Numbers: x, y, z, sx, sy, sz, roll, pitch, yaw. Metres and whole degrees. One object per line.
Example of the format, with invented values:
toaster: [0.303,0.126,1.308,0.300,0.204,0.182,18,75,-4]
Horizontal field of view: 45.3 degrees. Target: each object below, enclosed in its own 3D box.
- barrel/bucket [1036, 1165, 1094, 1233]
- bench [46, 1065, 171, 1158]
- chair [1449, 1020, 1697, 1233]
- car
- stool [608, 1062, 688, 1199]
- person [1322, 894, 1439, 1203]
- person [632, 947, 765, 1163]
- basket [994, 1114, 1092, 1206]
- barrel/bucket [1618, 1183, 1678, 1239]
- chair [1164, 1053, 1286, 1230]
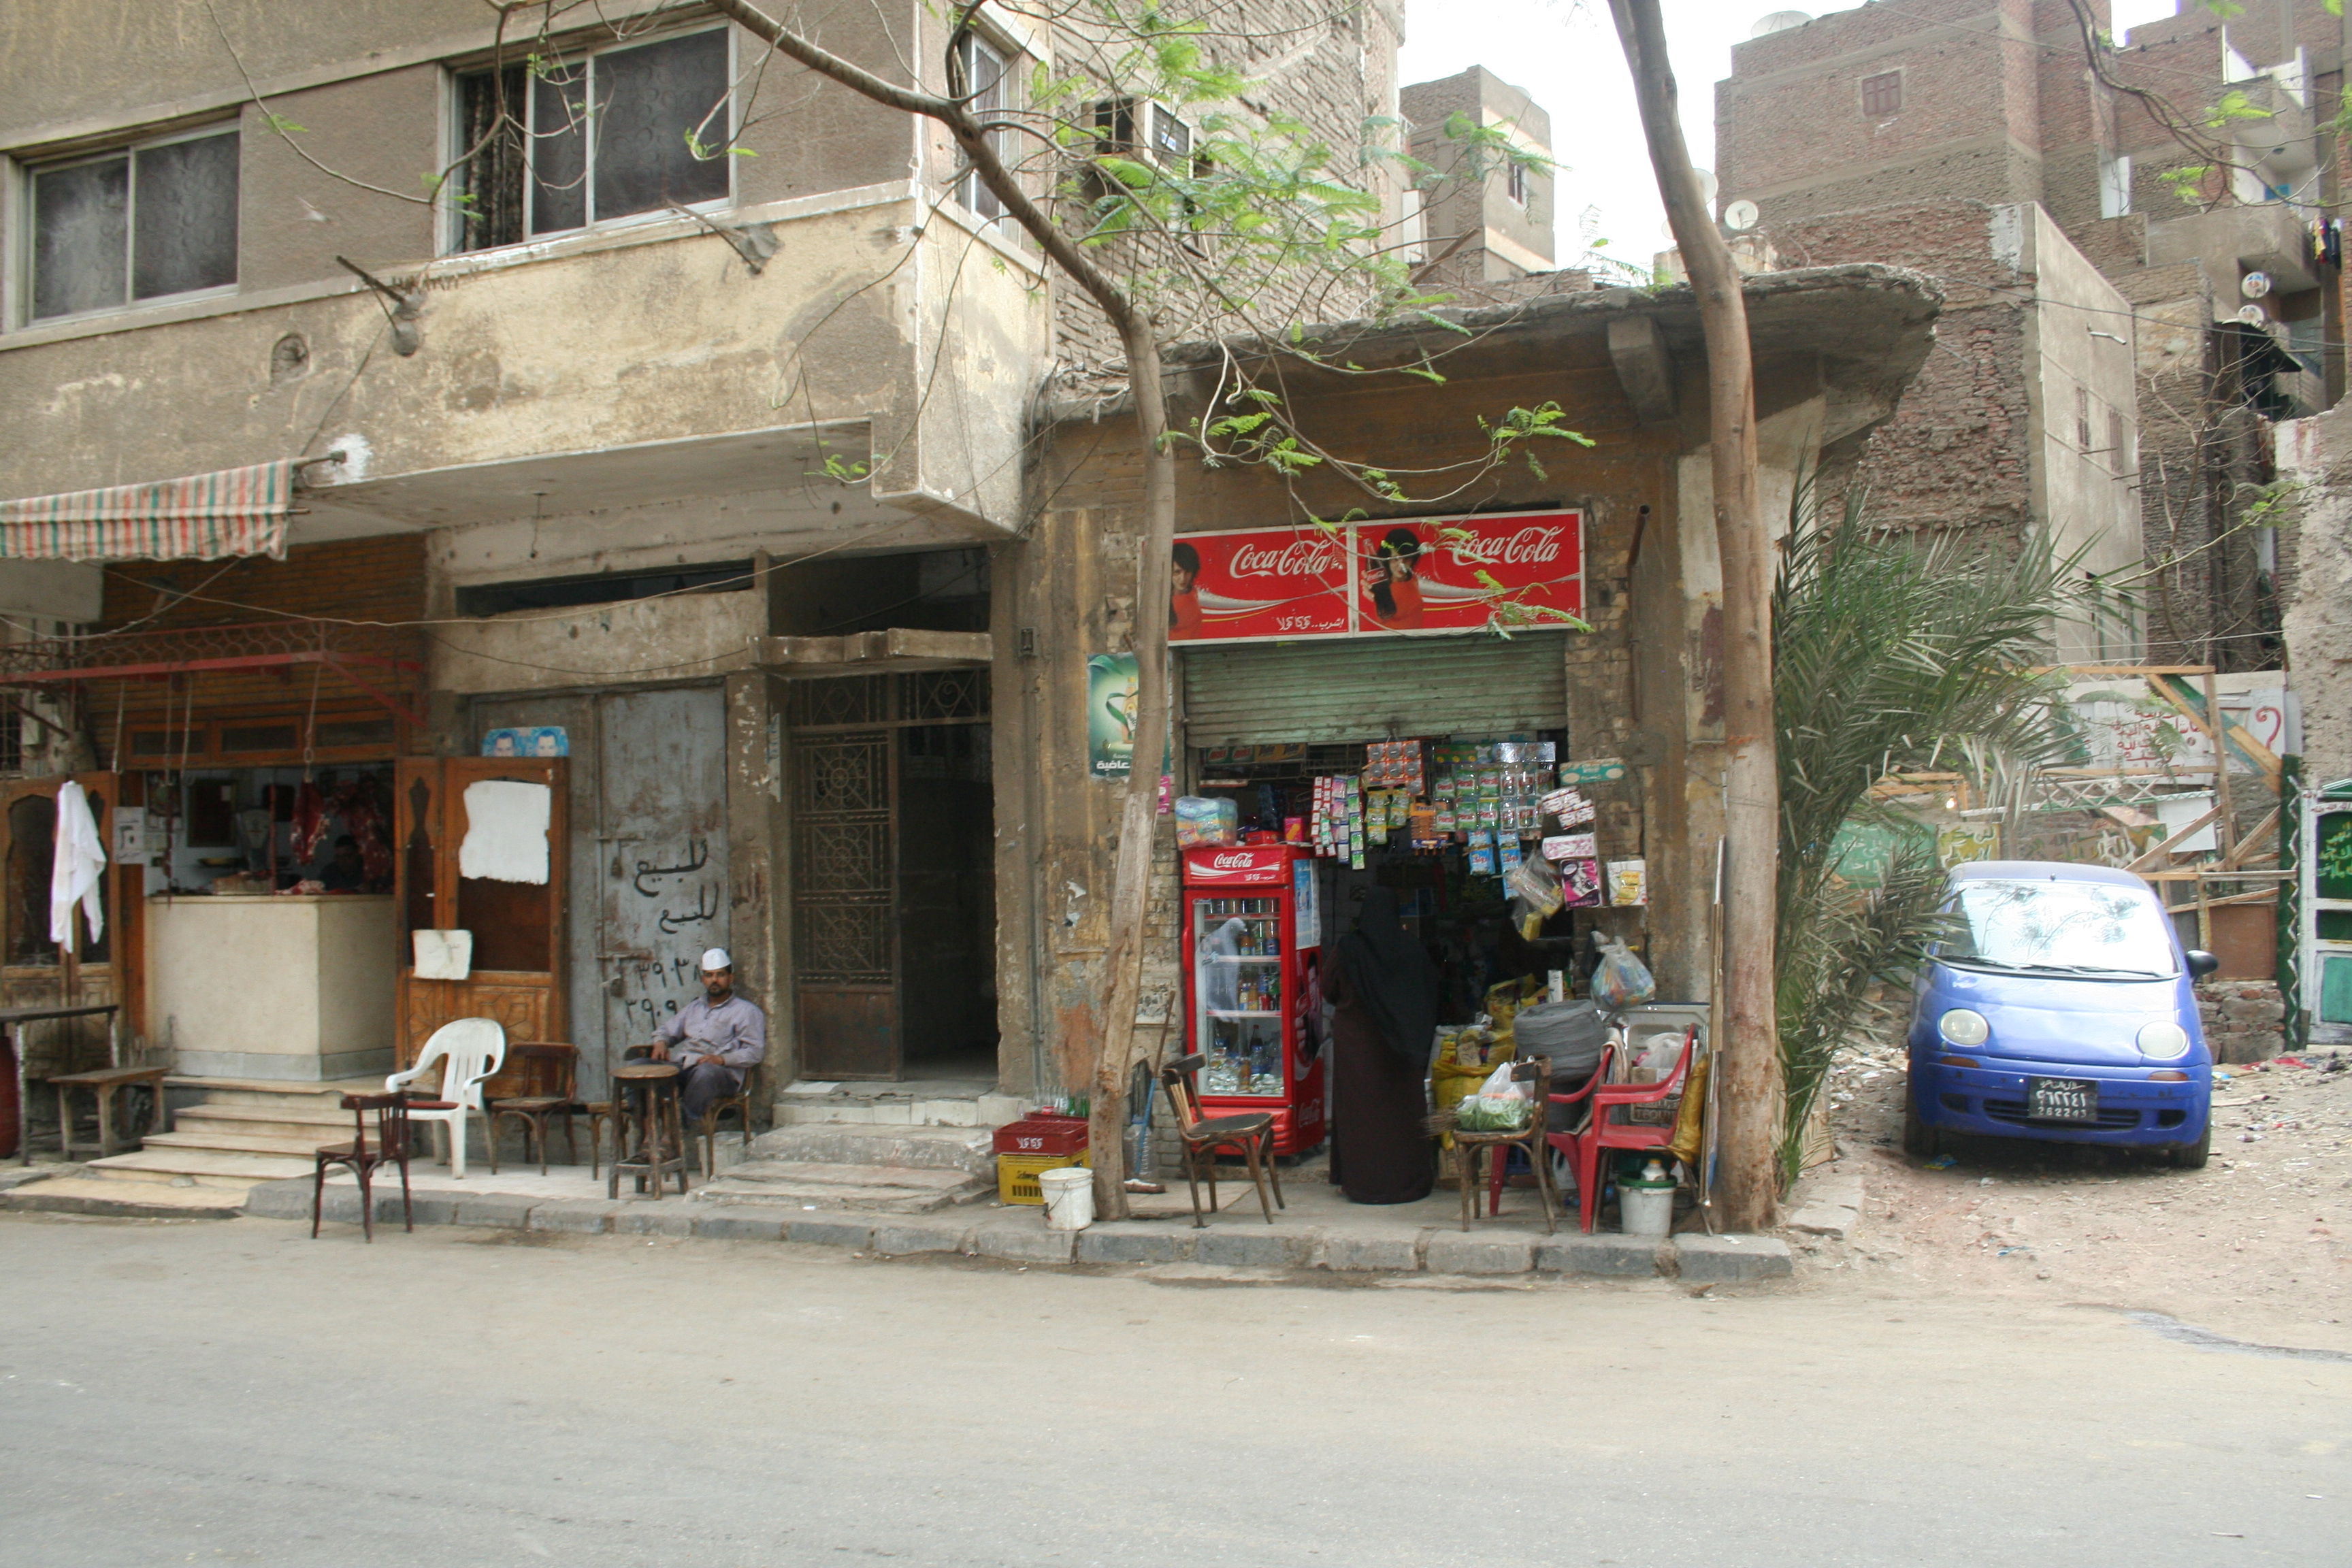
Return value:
barrel/bucket: [-0.772,3.083,21.042,0.395,0.468,0.287,-1,-8,-2]
bench: [-9.316,2.801,24.510,0.972,0.804,1.211,1,-8,-21]
chair: [3.116,2.424,20.663,1.932,1.483,1.283,-1,-4,15]
car: [6.823,1.778,21.766,2.246,2.351,1.692,-2,-8,4]
stool: [-4.230,2.733,22.649,0.609,1.074,1.082,0,-8,-9]
person: [1.608,2.027,21.732,0.762,2.334,0.467,-2,-8,-1]
person: [-3.973,2.200,23.108,1.001,1.676,1.092,2,-5,26]
basket: [-1.035,2.919,22.057,0.726,0.574,0.685,-1,-6,4]
barrel/bucket: [3.436,3.037,20.246,0.403,0.299,0.377,0,-10,0]
chair: [0.397,2.712,21.507,0.967,1.114,0.941,-2,3,37]
